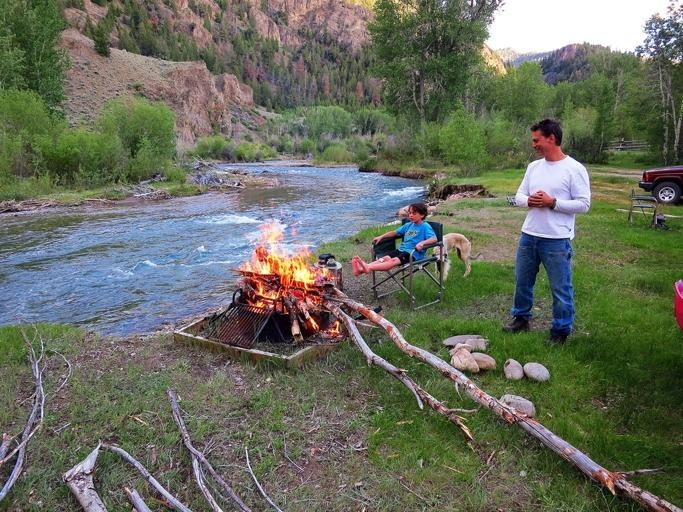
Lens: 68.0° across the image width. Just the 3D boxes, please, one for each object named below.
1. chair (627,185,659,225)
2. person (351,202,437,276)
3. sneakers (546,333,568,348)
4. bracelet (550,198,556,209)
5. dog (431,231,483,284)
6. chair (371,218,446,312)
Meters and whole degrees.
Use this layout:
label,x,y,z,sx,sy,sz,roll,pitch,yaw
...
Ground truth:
label,x,y,z,sx,sy,sz,roll,pitch,yaw
chair,9.245,-1.552,15.485,0.820,1.039,0.822,-6,8,-33
person,0.816,-0.233,8.782,1.504,1.112,1.003,-13,14,-37
sneakers,3.109,1.215,7.305,0.115,0.154,0.330,-2,-7,35
bracelet,2.970,-0.713,7.140,0.039,0.118,0.082,7,9,29
dog,2.049,-0.006,10.079,1.354,0.950,0.389,-4,3,-6
chair,1.205,0.123,9.227,1.081,1.525,0.975,10,16,41
